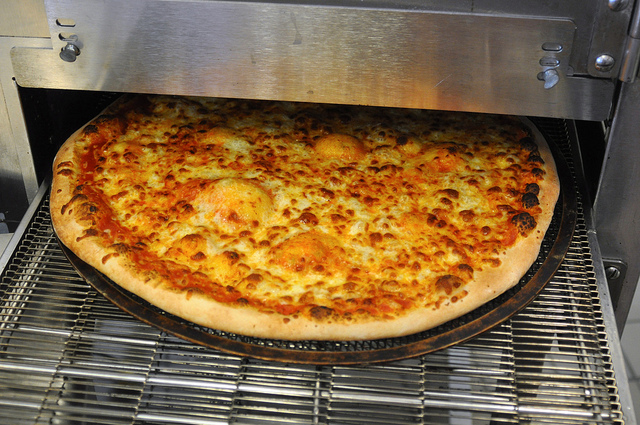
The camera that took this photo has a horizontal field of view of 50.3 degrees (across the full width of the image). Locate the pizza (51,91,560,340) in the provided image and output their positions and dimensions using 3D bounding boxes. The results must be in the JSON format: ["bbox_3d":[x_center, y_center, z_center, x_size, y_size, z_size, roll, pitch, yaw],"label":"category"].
[{"bbox_3d":[-0.037,0.030,1.984,1.121,0.258,0.960,4,32,6],"label":"pizza"}]
